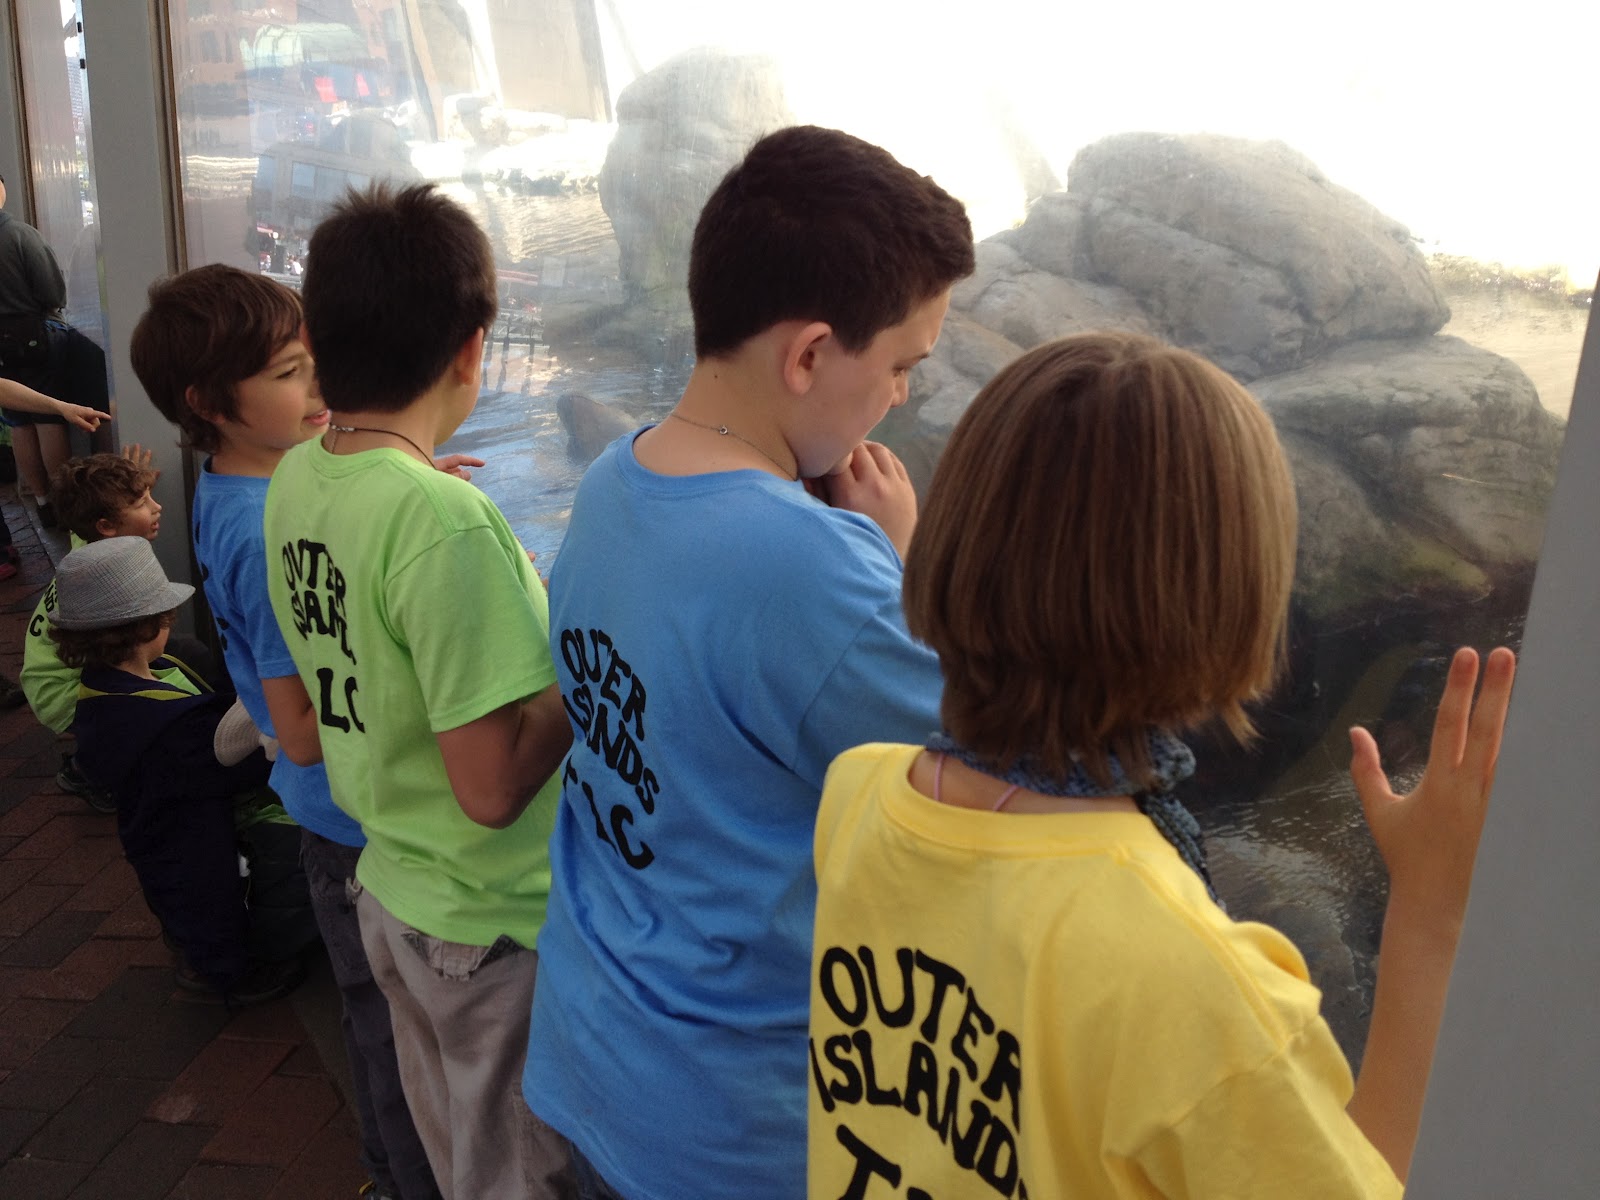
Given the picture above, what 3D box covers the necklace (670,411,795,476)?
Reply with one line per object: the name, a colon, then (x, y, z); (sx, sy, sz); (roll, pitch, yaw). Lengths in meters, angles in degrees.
necklace: (-0.078, -0.177, 1.418); (0.099, 0.081, 0.025); (21, 63, 11)
